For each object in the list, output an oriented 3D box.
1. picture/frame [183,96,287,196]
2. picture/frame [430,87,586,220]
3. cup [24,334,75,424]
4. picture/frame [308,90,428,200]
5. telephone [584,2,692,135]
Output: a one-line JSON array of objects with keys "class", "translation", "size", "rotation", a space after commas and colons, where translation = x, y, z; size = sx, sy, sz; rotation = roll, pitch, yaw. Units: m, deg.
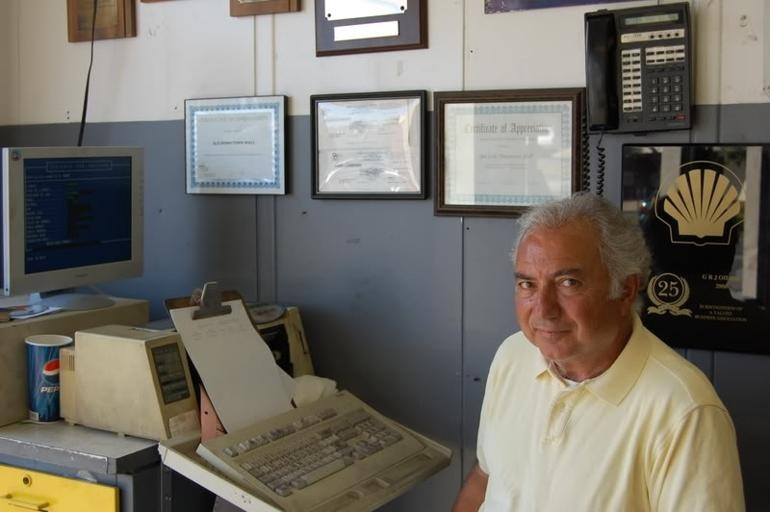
[{"class": "picture/frame", "translation": [-0.605, -0.464, 2.652], "size": [0.423, 0.354, 0.045], "rotation": [1, 6, 14]}, {"class": "picture/frame", "translation": [0.473, -0.382, 2.316], "size": [0.514, 0.428, 0.039], "rotation": [1, 3, 9]}, {"class": "cup", "translation": [-1.160, 0.416, 2.206], "size": [0.135, 0.287, 0.129], "rotation": [-4, 9, 1]}, {"class": "picture/frame", "translation": [-0.044, -0.440, 2.492], "size": [0.437, 0.366, 0.047], "rotation": [1, 1, 12]}, {"class": "telephone", "translation": [0.889, -0.648, 2.197], "size": [0.456, 0.528, 0.172], "rotation": [0, 2, 17]}]
